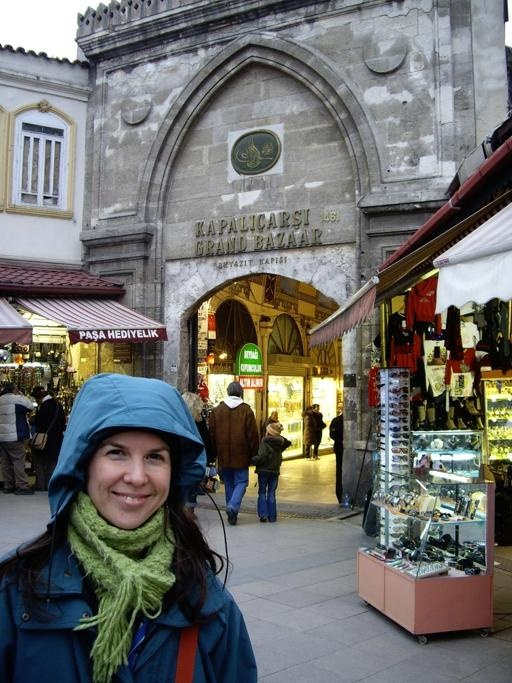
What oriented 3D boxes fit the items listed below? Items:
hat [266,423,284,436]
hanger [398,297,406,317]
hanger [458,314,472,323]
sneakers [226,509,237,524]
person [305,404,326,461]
[{"bbox_3d":[0.259,1.273,9.279,0.181,0.164,0.203,-16,-13,-12],"label":"hat"},{"bbox_3d":[1.903,-0.457,8.554,0.074,0.272,0.347,0,-6,9],"label":"hanger"},{"bbox_3d":[2.432,-0.274,7.591,0.086,0.118,0.288,1,4,24],"label":"hanger"},{"bbox_3d":[-0.336,2.315,8.675,0.104,0.319,0.137,-2,36,7],"label":"sneakers"},{"bbox_3d":[1.726,2.653,19.370,0.569,1.614,0.909,1,-6,7],"label":"person"}]
